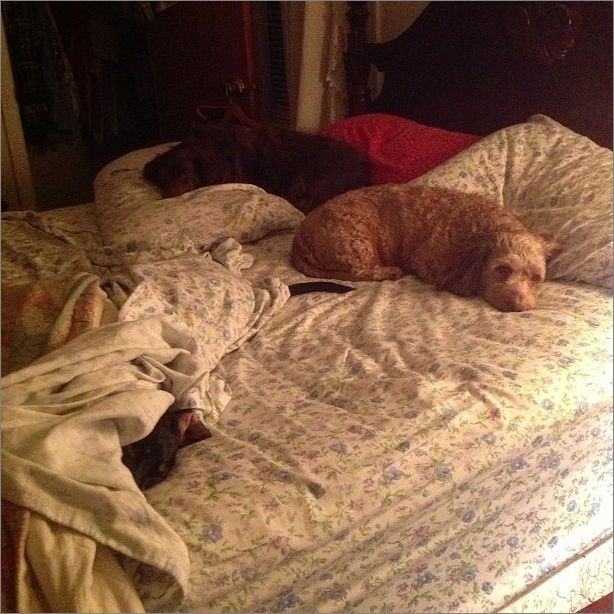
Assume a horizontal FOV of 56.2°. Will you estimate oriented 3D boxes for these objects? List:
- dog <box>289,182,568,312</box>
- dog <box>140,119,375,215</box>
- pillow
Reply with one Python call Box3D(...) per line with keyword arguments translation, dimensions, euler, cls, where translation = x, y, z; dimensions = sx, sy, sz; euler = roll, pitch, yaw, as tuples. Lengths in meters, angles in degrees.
Box3D(translation=(0.367, -0.207, 1.775), dimensions=(0.733, 0.219, 0.375), euler=(8, 36, 20), cls="dog")
Box3D(translation=(-0.162, -0.769, 2.663), dimensions=(1.091, 0.315, 0.698), euler=(9, 48, 18), cls="dog")
Box3D(translation=(0.412, -0.735, 2.564), dimensions=(0.480, 0.143, 0.780), euler=(15, -4, -7), cls="pillow")
